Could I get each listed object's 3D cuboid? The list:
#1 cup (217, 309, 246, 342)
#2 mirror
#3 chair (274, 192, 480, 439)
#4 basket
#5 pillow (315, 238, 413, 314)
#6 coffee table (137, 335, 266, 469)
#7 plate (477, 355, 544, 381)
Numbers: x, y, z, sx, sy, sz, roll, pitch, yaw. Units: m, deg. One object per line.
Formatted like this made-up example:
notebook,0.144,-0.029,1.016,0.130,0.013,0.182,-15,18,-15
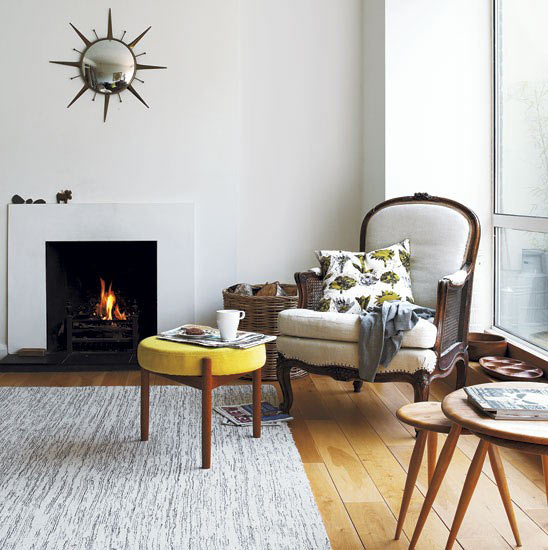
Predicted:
cup,-0.155,0.191,2.045,0.153,0.125,0.113,1,-2,-27
mirror,-1.147,-1.434,3.437,0.824,0.758,0.051,-1,5,-1
chair,0.525,0.118,2.543,0.791,0.983,0.876,3,7,33
basket,-0.053,0.322,2.979,0.521,0.436,0.593,0,-1,9
pillow,0.455,0.014,2.551,0.407,0.364,0.115,-5,-38,2
coffee table,-0.293,0.478,2.083,0.504,0.404,0.493,1,2,-11
plate,1.183,0.478,2.581,0.253,0.061,0.413,1,3,4
